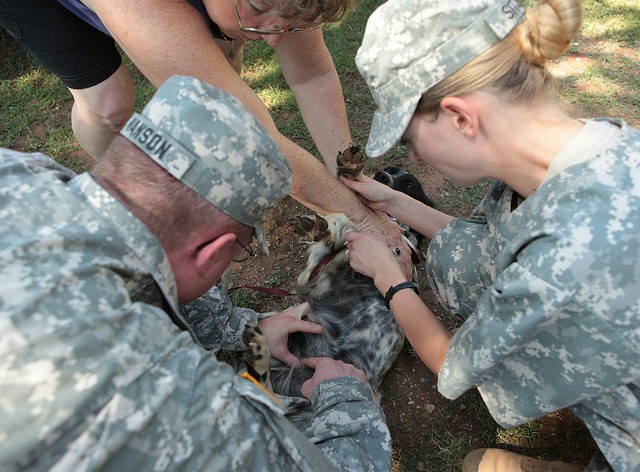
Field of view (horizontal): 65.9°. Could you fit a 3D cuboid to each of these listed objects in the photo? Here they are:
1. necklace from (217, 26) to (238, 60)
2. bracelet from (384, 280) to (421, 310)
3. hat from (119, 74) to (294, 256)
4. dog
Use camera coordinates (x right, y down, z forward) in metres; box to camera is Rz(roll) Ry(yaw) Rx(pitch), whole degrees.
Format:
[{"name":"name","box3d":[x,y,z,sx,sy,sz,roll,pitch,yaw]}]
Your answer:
[{"name":"necklace","box3d":[-0.702,-1.451,3.772,0.151,0.171,0.115,-51,22,-24]},{"name":"bracelet","box3d":[0.502,0.369,3.206,0.191,0.179,0.058,-61,22,23]},{"name":"hat","box3d":[-0.591,-0.350,2.557,0.281,0.808,0.598,-27,19,52]},{"name":"dog","box3d":[0.118,0.184,3.683,1.065,0.665,1.925,-11,60,47]}]
